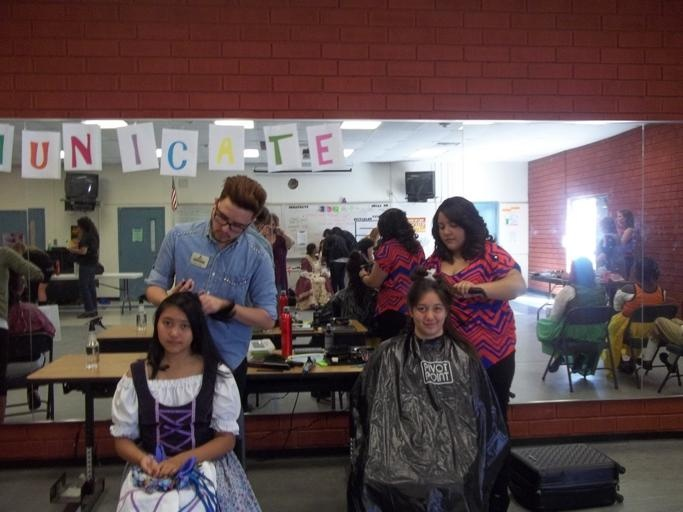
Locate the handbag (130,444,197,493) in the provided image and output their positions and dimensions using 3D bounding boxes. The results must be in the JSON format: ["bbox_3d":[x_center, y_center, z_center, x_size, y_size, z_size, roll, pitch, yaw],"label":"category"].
[{"bbox_3d":[-0.840,1.047,2.753,0.203,0.095,0.228,1,19,-4],"label":"handbag"}]

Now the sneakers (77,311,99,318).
[{"bbox_3d":[-1.744,0.401,3.948,0.134,0.060,0.047,3,2,0],"label":"sneakers"}]

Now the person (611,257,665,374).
[{"bbox_3d":[2.246,0.412,4.359,0.355,0.901,0.354,-19,23,-30],"label":"person"}]

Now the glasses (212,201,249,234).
[{"bbox_3d":[-0.563,-0.200,2.915,0.176,0.156,0.085,-4,4,-10],"label":"glasses"}]

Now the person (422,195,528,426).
[{"bbox_3d":[0.775,0.535,3.540,0.636,1.751,0.539,3,14,38],"label":"person"}]
